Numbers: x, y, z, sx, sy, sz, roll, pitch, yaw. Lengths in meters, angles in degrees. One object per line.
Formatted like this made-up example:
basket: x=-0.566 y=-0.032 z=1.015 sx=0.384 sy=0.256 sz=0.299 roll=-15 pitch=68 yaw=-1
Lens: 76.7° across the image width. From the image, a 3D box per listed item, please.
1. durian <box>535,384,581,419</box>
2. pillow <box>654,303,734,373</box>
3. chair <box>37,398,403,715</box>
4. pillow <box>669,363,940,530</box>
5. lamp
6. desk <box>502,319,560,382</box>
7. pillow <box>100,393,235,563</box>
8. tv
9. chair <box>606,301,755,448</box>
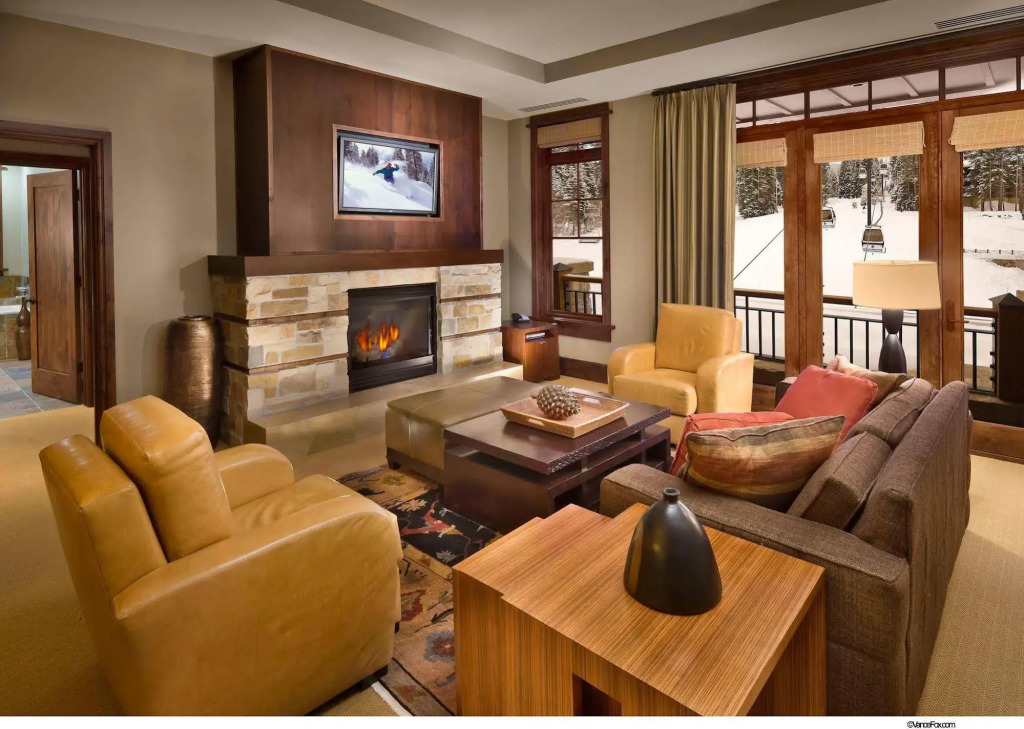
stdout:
durian: x=0.275 y=0.232 z=3.851 sx=0.214 sy=0.109 sz=0.198 roll=14 pitch=12 yaw=12
pillow: x=1.582 y=-0.197 z=5.469 sx=0.652 sy=0.574 sz=0.359 roll=10 pitch=7 yaw=41
chair: x=-1.215 y=0.803 z=2.963 sx=1.360 sy=1.357 sz=1.250 roll=-4 pitch=6 yaw=-43
pillow: x=1.219 y=0.335 z=2.753 sx=0.654 sy=0.231 sz=0.684 roll=-15 pitch=27 yaw=25
lamp: x=2.616 y=-0.311 z=4.424 sx=0.447 sy=0.756 sz=0.345 roll=-4 pitch=12 yaw=-8
desk: x=0.183 y=-0.110 z=6.813 sx=0.530 sy=0.596 sz=0.393 roll=-12 pitch=15 yaw=-39
pillow: x=-1.390 y=0.441 z=2.577 sx=0.598 sy=0.519 sz=0.302 roll=21 pitch=31 yaw=39
tv: x=-1.128 y=-1.680 z=5.735 sx=1.008 sy=0.712 sz=0.018 roll=-13 pitch=16 yaw=-42
chair: x=1.362 y=0.096 z=5.287 sx=0.946 sy=1.111 sz=0.816 roll=9 pitch=14 yaw=41
